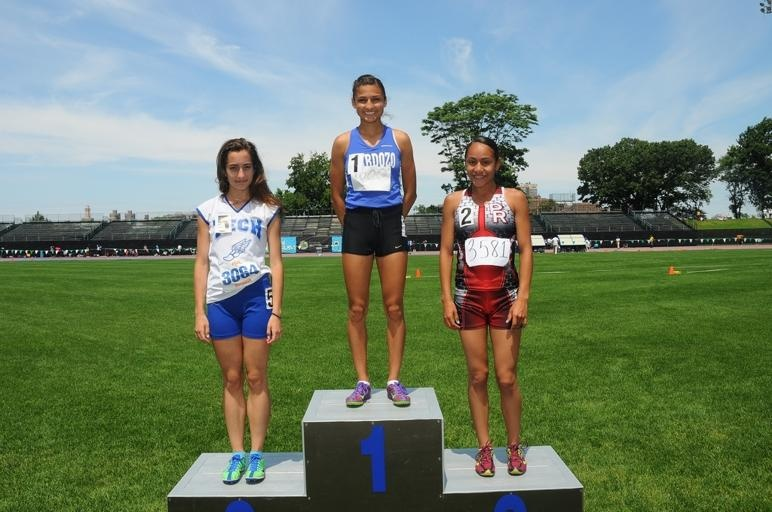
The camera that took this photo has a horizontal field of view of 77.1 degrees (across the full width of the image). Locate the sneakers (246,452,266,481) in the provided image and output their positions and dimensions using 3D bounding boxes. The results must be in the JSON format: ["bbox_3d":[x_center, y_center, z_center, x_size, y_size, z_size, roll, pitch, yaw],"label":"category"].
[{"bbox_3d":[-1.145,1.870,4.286,0.102,0.135,0.297,0,-6,-6],"label":"sneakers"}]

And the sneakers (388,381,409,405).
[{"bbox_3d":[0.116,1.298,4.556,0.212,0.154,0.310,-1,5,-2],"label":"sneakers"}]

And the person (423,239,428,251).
[{"bbox_3d":[3.730,-0.948,46.949,0.294,0.773,0.754,-1,4,5],"label":"person"}]

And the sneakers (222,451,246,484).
[{"bbox_3d":[-1.328,1.880,4.232,0.108,0.121,0.270,-1,-1,-1],"label":"sneakers"}]

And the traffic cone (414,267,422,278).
[{"bbox_3d":[1.329,0.744,20.273,0.269,0.303,0.281,-1,-8,1],"label":"traffic cone"}]

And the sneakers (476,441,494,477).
[{"bbox_3d":[0.855,1.820,4.253,0.112,0.128,0.289,0,-4,5],"label":"sneakers"}]

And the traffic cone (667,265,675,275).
[{"bbox_3d":[11.400,0.585,19.492,0.159,0.188,0.350,15,9,22],"label":"traffic cone"}]

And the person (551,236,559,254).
[{"bbox_3d":[14.071,-0.949,40.387,0.473,1.151,1.892,0,5,18],"label":"person"}]

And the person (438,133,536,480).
[{"bbox_3d":[0.911,0.383,4.542,0.848,3.011,0.739,0,4,15],"label":"person"}]

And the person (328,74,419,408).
[{"bbox_3d":[-0.099,-0.199,4.951,0.910,3.291,1.151,-2,4,-7],"label":"person"}]

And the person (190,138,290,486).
[{"bbox_3d":[-1.375,0.425,4.471,0.809,3.044,0.838,-1,4,-2],"label":"person"}]
